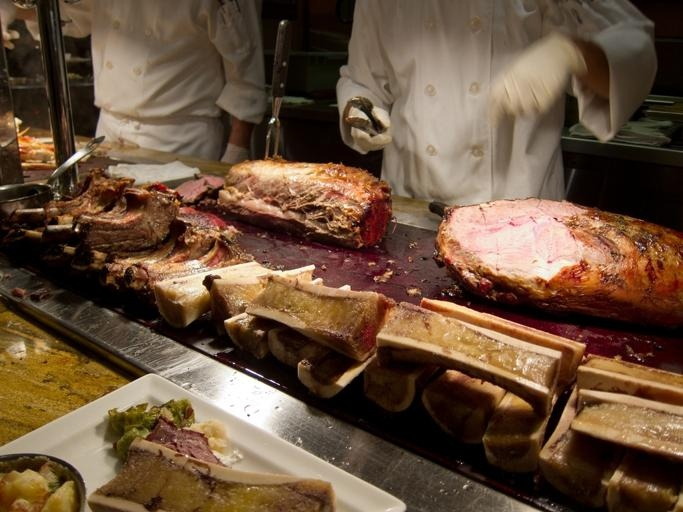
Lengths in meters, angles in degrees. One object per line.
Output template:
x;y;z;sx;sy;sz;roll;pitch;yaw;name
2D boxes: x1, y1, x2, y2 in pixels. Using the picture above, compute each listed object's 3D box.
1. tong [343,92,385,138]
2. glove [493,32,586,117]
0.109;-0.791;2.893;0.169;0.287;0.109;-51;5;-16;tong
0.945;-0.824;2.161;0.506;0.173;0.332;-3;38;-41;glove
